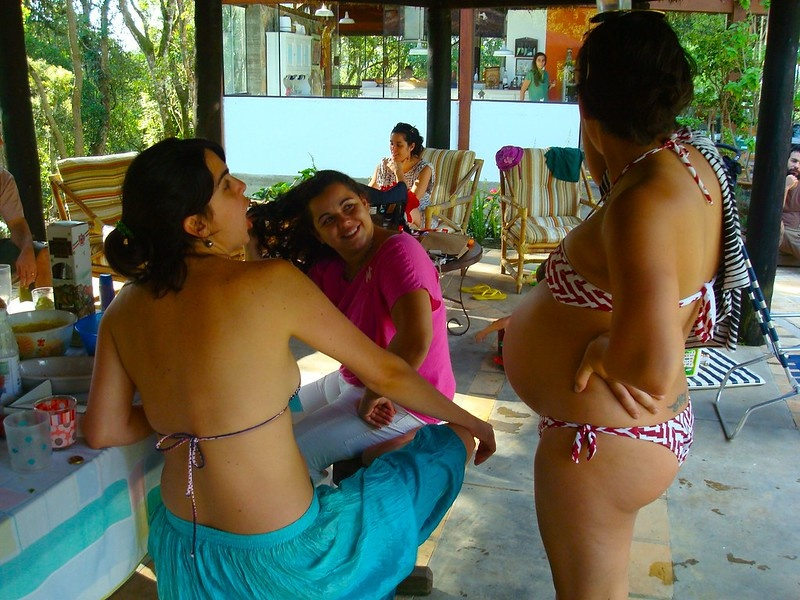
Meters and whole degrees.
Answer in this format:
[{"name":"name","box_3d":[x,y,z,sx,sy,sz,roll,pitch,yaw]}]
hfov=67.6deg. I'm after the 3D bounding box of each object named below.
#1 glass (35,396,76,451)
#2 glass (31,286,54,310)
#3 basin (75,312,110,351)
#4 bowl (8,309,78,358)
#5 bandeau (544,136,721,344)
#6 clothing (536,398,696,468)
[{"name":"glass","box_3d":[-0.931,0.343,1.616,0.081,0.102,0.085,16,21,25]},{"name":"glass","box_3d":[-1.542,-0.003,2.581,0.094,0.115,0.096,1,-6,-24]},{"name":"basin","box_3d":[-1.050,0.112,2.033,0.100,0.058,0.118,-1,18,-12]},{"name":"bowl","box_3d":[-1.301,0.099,2.176,0.180,0.097,0.186,3,8,0]},{"name":"bandeau","box_3d":[0.695,-0.173,1.730,0.436,0.657,0.463,17,10,27]},{"name":"clothing","box_3d":[0.603,0.353,1.557,0.222,0.095,0.221,13,-15,18]}]
